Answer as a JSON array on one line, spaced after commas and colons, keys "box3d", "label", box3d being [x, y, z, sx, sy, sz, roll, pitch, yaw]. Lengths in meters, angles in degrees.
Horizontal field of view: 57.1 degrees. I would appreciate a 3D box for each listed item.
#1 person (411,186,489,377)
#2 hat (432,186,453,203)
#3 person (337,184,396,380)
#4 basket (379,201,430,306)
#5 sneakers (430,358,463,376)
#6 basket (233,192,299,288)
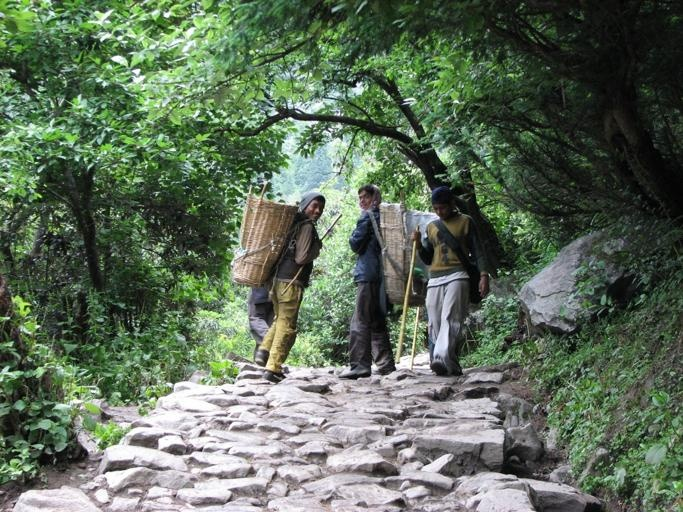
[{"box3d": [1.537, 0.322, 8.744, 0.990, 2.573, 0.630, -4, -3, 15], "label": "person"}, {"box3d": [1.370, -0.853, 8.647, 0.277, 0.255, 0.248, -3, -4, 7], "label": "hat"}, {"box3d": [0.359, 0.482, 9.000, 0.508, 2.402, 0.830, -4, -4, 30], "label": "person"}, {"box3d": [0.936, -0.354, 9.190, 0.645, 0.855, 0.661, -8, 14, -22], "label": "basket"}, {"box3d": [1.415, 1.493, 8.610, 0.376, 0.165, 0.229, -2, -7, 18], "label": "sneakers"}, {"box3d": [-0.984, -0.224, 7.812, 0.862, 1.140, 0.493, -3, -3, 3], "label": "basket"}]
